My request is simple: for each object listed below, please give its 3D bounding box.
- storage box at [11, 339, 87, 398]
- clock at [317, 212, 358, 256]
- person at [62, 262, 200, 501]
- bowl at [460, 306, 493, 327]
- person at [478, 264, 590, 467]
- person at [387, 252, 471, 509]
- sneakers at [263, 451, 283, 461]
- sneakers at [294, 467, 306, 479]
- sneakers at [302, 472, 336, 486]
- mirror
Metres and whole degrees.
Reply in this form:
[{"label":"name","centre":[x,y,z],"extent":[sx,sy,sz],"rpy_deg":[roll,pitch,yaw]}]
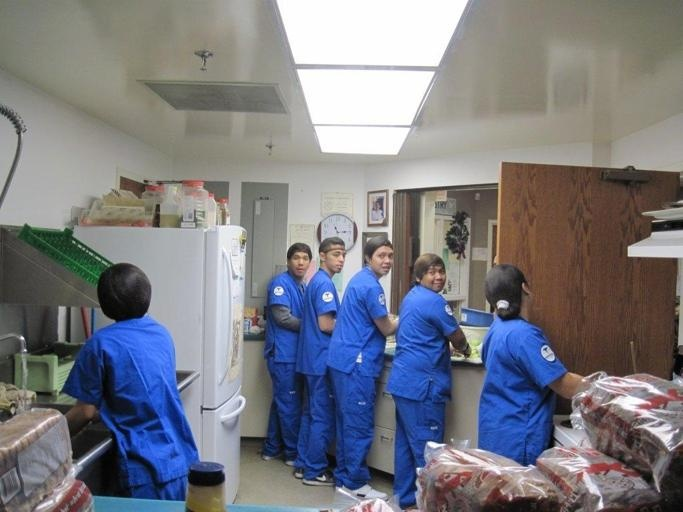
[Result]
[{"label":"storage box","centre":[-1.532,0.595,2.863],"extent":[0.217,0.170,0.377],"rpy_deg":[3,-3,-3]},{"label":"clock","centre":[-0.043,-0.180,4.729],"extent":[0.386,0.414,0.058],"rpy_deg":[0,-3,-3]},{"label":"person","centre":[-0.845,0.521,2.236],"extent":[0.537,0.975,0.159],"rpy_deg":[2,-2,-29]},{"label":"bowl","centre":[0.912,0.411,3.618],"extent":[0.165,0.069,0.118],"rpy_deg":[11,-4,-7]},{"label":"person","centre":[0.871,0.495,2.516],"extent":[0.506,0.912,0.264],"rpy_deg":[0,-2,31]},{"label":"person","centre":[0.511,0.749,3.261],"extent":[0.453,1.527,0.288],"rpy_deg":[1,-1,14]},{"label":"sneakers","centre":[-0.510,1.464,4.008],"extent":[0.151,0.068,0.052],"rpy_deg":[5,2,-30]},{"label":"sneakers","centre":[-0.283,1.477,3.699],"extent":[0.060,0.073,0.169],"rpy_deg":[3,-15,-8]},{"label":"sneakers","centre":[-0.150,1.488,3.653],"extent":[0.213,0.095,0.081],"rpy_deg":[6,-9,-16]},{"label":"mirror","centre":[1.029,-0.117,5.011],"extent":[1.131,1.660,0.876],"rpy_deg":[0,2,3]}]
